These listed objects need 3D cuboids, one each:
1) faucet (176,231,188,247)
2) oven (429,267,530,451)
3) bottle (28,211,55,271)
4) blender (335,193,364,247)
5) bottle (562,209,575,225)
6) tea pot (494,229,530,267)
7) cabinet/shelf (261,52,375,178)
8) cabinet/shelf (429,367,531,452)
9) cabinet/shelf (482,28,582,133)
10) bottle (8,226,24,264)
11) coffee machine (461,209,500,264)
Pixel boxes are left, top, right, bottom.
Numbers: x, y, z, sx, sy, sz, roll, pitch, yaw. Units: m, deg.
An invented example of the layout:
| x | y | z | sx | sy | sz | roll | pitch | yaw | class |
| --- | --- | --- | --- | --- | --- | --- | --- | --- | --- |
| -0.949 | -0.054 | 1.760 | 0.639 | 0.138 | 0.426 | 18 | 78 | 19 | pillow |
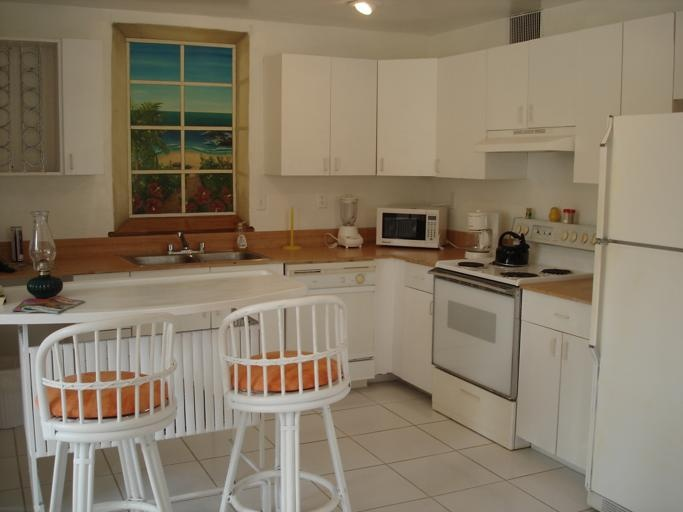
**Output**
| x | y | z | sx | sy | sz | roll | pitch | yaw | class |
| --- | --- | --- | --- | --- | --- | --- | --- | --- | --- |
| -1.301 | -0.137 | 4.381 | 0.087 | 0.140 | 0.158 | -2 | 10 | -17 | faucet |
| 1.155 | 0.635 | 3.872 | 0.789 | 1.108 | 0.820 | -4 | 9 | -30 | oven |
| -1.413 | -0.066 | 2.510 | 0.095 | 0.291 | 0.232 | -5 | 12 | -30 | bottle |
| 0.071 | -0.321 | 4.818 | 0.230 | 0.439 | 0.484 | 1 | 10 | 1 | blender |
| 1.626 | -0.286 | 3.796 | 0.097 | 0.104 | 0.096 | -2 | 6 | -32 | bottle |
| 1.267 | -0.059 | 3.947 | 0.243 | 0.246 | 0.246 | 0 | 10 | 0 | tea pot |
| -0.203 | -1.199 | 4.478 | 1.075 | 1.064 | 0.509 | -1 | 3 | -16 | cabinet/shelf |
| 1.116 | 1.036 | 3.932 | 0.578 | 0.361 | 0.785 | -8 | 14 | -39 | cabinet/shelf |
| 1.291 | -1.228 | 3.865 | 0.274 | 0.629 | 0.725 | -23 | 25 | -40 | cabinet/shelf |
| -2.455 | -0.085 | 3.955 | 0.086 | 0.249 | 0.078 | -11 | 7 | -43 | bottle |
| 1.128 | -0.180 | 4.249 | 0.267 | 0.370 | 0.240 | -6 | 10 | -36 | coffee machine |
